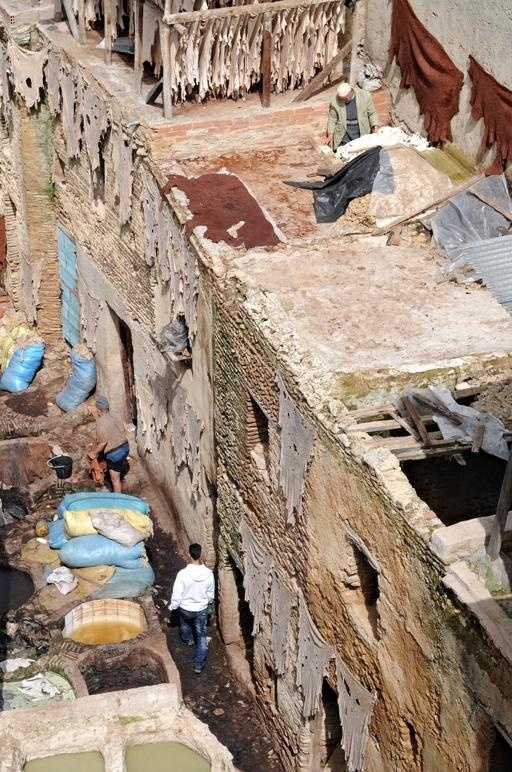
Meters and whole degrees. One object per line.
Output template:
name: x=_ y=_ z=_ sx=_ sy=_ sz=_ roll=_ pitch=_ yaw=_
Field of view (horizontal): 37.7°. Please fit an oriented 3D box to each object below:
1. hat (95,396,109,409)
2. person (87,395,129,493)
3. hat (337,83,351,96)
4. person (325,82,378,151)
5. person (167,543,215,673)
hat: x=-2.017 y=0.235 z=9.870 sx=0.138 sy=0.139 sz=0.178 roll=4 pitch=33 yaw=-19
person: x=-1.941 y=0.828 z=9.918 sx=0.476 sy=1.279 sz=0.799 roll=0 pitch=26 yaw=-11
hat: x=0.980 y=-3.299 z=8.400 sx=0.154 sy=0.169 sz=0.170 roll=-2 pitch=11 yaw=15
person: x=1.125 y=-3.013 z=8.833 sx=0.614 sy=1.237 sz=0.470 roll=-1 pitch=60 yaw=9
person: x=-0.652 y=2.165 z=7.628 sx=0.400 sy=1.592 sz=0.556 roll=4 pitch=26 yaw=-4
